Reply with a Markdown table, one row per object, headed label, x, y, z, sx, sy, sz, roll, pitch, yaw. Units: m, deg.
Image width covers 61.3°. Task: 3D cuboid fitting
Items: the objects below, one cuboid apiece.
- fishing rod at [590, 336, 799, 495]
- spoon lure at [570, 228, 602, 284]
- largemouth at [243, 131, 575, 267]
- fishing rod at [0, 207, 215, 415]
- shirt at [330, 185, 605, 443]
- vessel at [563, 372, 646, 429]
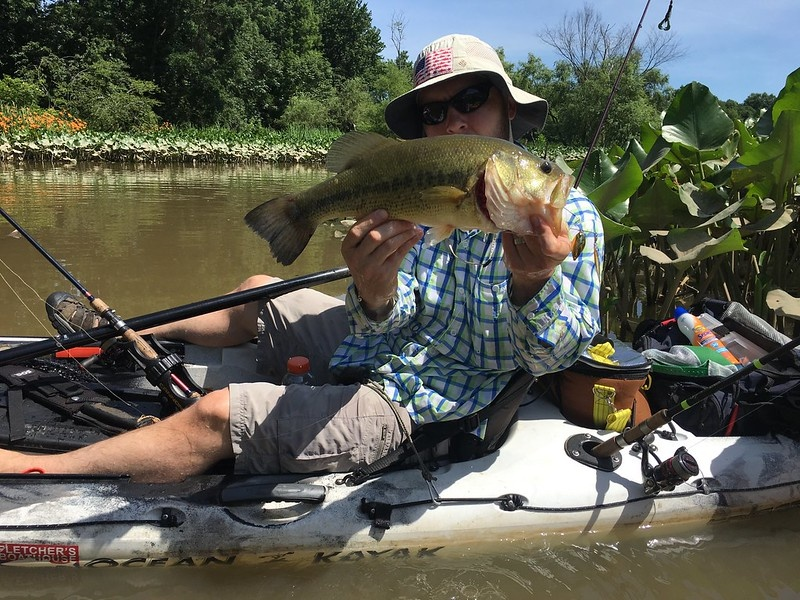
| label | x | y | z | sx | sy | sz | roll | pitch | yaw |
| --- | --- | --- | --- | --- | --- | --- | --- | --- | --- |
| fishing rod | 1.562 | 0.639 | 3.565 | 1.561 | 0.268 | 0.136 | -23 | 58 | 3 |
| spoon lure | 0.834 | -0.198 | 3.054 | 0.147 | 0.277 | 0.032 | -33 | 26 | -24 |
| largemouth | 0.024 | -0.397 | 2.918 | 1.323 | 0.673 | 0.192 | 14 | 21 | 19 |
| fishing rod | -2.314 | 0.035 | 5.289 | 2.425 | 0.269 | 0.349 | 41 | 28 | 18 |
| shirt | 0.354 | 0.014 | 3.504 | 1.017 | 1.299 | 0.432 | 43 | 19 | -17 |
| vessel | 1.089 | 0.528 | 3.632 | 0.374 | 0.245 | 0.302 | 4 | 0 | 3 |
